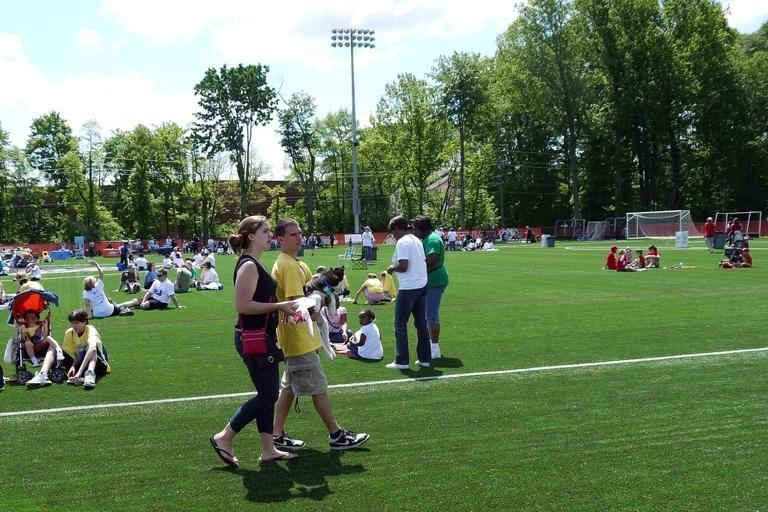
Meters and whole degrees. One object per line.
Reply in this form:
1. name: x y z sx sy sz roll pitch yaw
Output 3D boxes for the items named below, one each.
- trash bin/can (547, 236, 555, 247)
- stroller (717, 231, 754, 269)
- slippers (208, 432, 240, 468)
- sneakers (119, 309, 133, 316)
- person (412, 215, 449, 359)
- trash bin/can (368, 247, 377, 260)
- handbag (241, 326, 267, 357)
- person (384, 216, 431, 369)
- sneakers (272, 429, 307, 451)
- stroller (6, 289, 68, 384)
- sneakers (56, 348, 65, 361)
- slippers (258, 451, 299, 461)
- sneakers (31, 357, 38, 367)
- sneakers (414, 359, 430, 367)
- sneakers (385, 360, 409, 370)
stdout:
1. trash bin/can: 10.976 -0.916 52.459 0.688 0.624 0.355 3 11 20
2. stroller: 13.388 -0.242 30.263 1.091 1.194 0.899 -8 3 -20
3. slippers: -2.810 3.424 13.589 0.192 0.707 0.312 -40 -7 26
4. sneakers: -7.239 1.620 22.246 0.413 0.134 0.267 -1 4 -5
5. person: 0.947 0.706 17.436 1.212 3.112 1.154 0 -3 15
6. trash bin/can: -0.588 -0.077 39.767 0.514 0.585 0.631 -1 5 16
7. handbag: -2.207 1.471 13.429 0.544 0.523 0.163 -2 -3 -3
8. person: 0.480 0.780 16.562 0.930 3.203 0.596 -3 6 -4
9. sneakers: -1.697 3.280 13.891 0.654 0.258 0.226 1 1 -10
10. stroller: -7.290 1.754 16.686 1.215 2.192 1.130 -2 -2 -25
11. sneakers: -6.776 2.077 16.544 0.141 0.204 0.242 -6 7 -36
12. slippers: -1.839 3.496 13.752 0.644 0.217 0.228 -2 0 -9
13. sneakers: -7.344 2.239 16.623 0.122 0.180 0.146 -5 7 -30
14. sneakers: 0.794 2.285 16.702 0.250 0.106 0.119 5 1 35
15. sneakers: 0.276 2.312 16.707 0.499 0.190 0.180 4 -3 17
